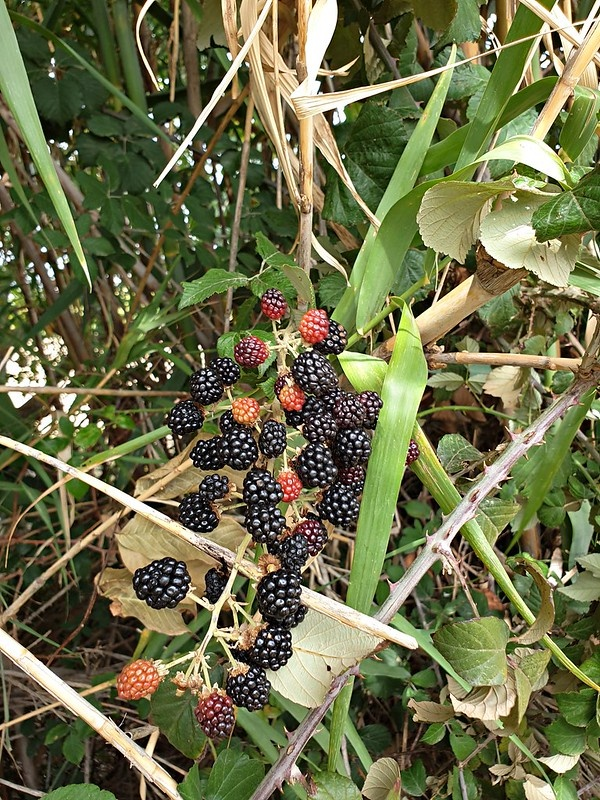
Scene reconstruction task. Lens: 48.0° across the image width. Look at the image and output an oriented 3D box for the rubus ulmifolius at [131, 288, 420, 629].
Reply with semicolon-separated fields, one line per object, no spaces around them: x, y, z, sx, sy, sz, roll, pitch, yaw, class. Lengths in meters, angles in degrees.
-0.023;0.041;0.534;0.209;0.112;0.292;8;67;-1;rubus ulmifolius
